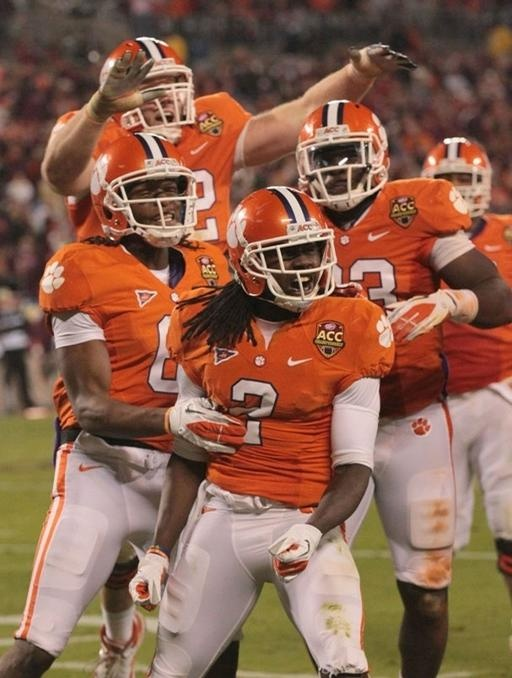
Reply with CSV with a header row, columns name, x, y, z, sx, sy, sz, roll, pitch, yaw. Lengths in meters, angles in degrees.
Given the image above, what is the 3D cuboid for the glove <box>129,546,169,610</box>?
name,x,y,z,sx,sy,sz,roll,pitch,yaw
glove,-0.246,0.552,1.958,0.090,0.058,0.139,-38,14,20

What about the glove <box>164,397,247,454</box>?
name,x,y,z,sx,sy,sz,roll,pitch,yaw
glove,-0.106,0.203,2.042,0.188,0.106,0.093,24,25,34

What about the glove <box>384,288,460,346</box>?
name,x,y,z,sx,sy,sz,roll,pitch,yaw
glove,0.468,-0.061,2.327,0.195,0.046,0.123,-28,43,-31

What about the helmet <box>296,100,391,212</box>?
name,x,y,z,sx,sy,sz,roll,pitch,yaw
helmet,0.275,-0.565,2.582,0.314,0.293,0.371,-5,24,18

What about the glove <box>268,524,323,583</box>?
name,x,y,z,sx,sy,sz,roll,pitch,yaw
glove,0.075,0.460,1.804,0.135,0.065,0.090,-43,65,0
